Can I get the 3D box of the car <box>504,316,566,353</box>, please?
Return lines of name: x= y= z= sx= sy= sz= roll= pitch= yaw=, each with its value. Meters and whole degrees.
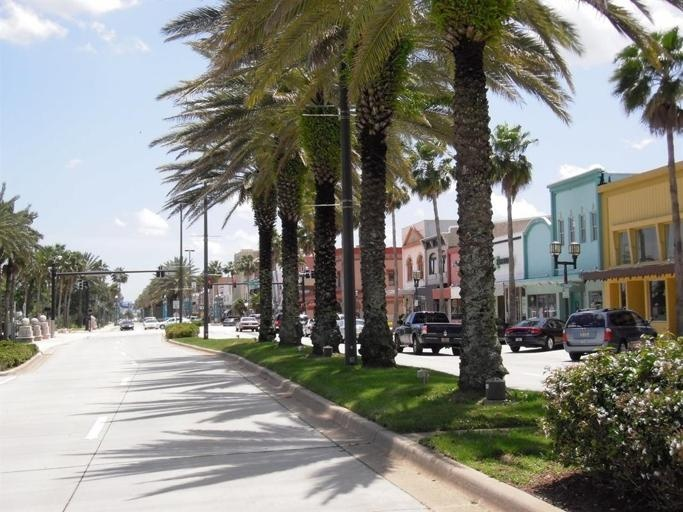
car: x=10.197 y=4.081 z=31.640 sx=2.817 sy=1.766 sz=1.532 roll=-1 pitch=-8 yaw=-6

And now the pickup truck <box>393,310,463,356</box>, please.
pickup truck: x=4.236 y=3.794 z=30.072 sx=2.469 sy=2.350 sz=4.253 roll=1 pitch=-9 yaw=-14

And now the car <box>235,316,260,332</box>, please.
car: x=-10.736 y=7.829 z=69.626 sx=2.078 sy=1.810 sz=2.998 roll=2 pitch=-10 yaw=-21

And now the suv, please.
suv: x=10.523 y=2.930 z=23.973 sx=2.888 sy=1.662 sz=1.507 roll=0 pitch=-8 yaw=-8
